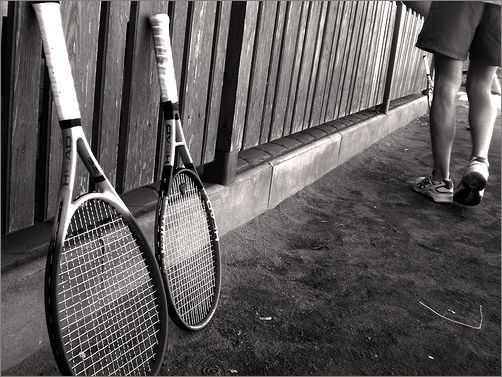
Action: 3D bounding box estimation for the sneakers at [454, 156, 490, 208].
[{"bbox_3d":[1.976,-0.034,3.420,0.195,0.522,0.239,19,57,15],"label":"sneakers"}]
